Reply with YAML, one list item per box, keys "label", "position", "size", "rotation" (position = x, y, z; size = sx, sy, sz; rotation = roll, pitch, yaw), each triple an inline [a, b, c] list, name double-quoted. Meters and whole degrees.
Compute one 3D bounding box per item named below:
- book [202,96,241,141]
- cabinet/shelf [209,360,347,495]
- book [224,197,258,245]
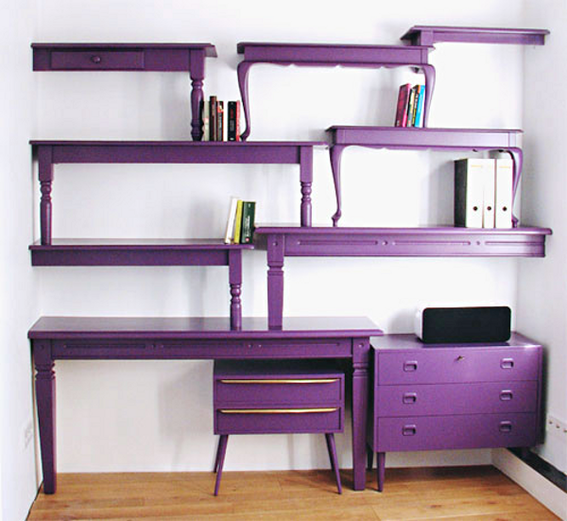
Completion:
- label: "book"
  position: [-0.332, -0.690, 3.738]
  size: [0.182, 0.307, 0.274]
  rotation: [0, 6, -10]
- label: "cabinet/shelf"
  position: [-0.034, 0.844, 3.970]
  size: [0.727, 0.730, 0.519]
  rotation: [-2, 17, -7]
- label: "book"
  position: [-0.256, -0.217, 3.797]
  size: [0.170, 0.319, 0.305]
  rotation: [7, 7, -10]
